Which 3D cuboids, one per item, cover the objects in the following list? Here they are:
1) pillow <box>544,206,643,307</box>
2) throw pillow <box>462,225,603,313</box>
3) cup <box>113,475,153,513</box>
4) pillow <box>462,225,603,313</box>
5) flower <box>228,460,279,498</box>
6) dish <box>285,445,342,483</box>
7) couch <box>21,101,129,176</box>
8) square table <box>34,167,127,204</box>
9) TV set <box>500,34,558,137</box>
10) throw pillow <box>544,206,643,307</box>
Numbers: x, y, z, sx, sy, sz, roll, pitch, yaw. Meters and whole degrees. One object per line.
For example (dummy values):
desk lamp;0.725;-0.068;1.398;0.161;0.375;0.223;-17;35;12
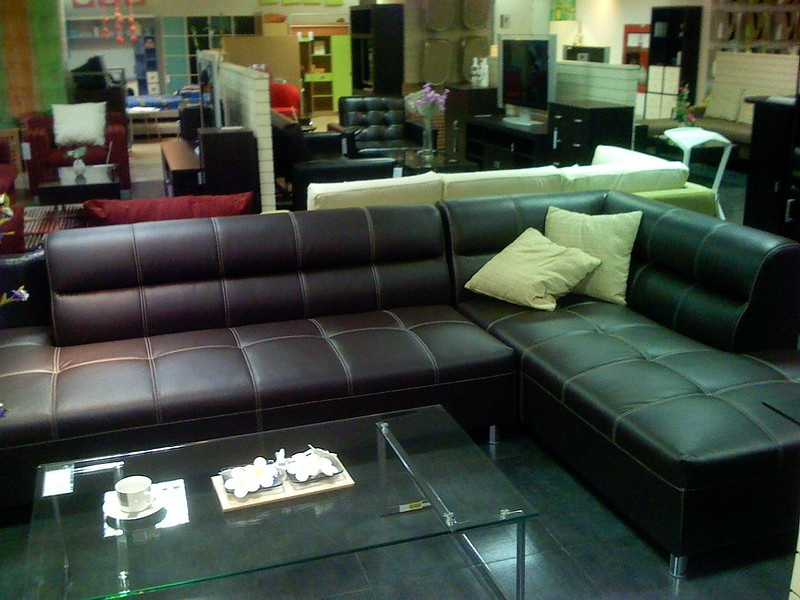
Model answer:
pillow;1.084;-0.284;3.629;0.282;0.457;0.555;-32;31;-35
throw pillow;0.725;-0.147;3.455;0.487;0.139;0.498;-40;44;-26
cup;-0.857;0.626;2.078;0.105;0.067;0.117;-5;13;-15
pillow;0.733;-0.167;3.473;0.487;0.139;0.498;-40;44;-26
flower;-0.496;0.610;2.186;0.146;0.037;0.121;-10;22;-25
dish;-0.307;0.581;2.270;0.125;0.024;0.113;-6;16;-19
couch;-3.999;-1.972;7.908;1.577;0.898;0.822;-4;14;-16
square table;-3.065;-1.096;6.143;0.972;0.187;0.798;-5;24;-9
TV set;1.439;-2.653;7.665;0.355;0.964;1.247;13;23;39
throw pillow;1.064;-0.214;3.500;0.529;0.428;0.265;11;30;35
